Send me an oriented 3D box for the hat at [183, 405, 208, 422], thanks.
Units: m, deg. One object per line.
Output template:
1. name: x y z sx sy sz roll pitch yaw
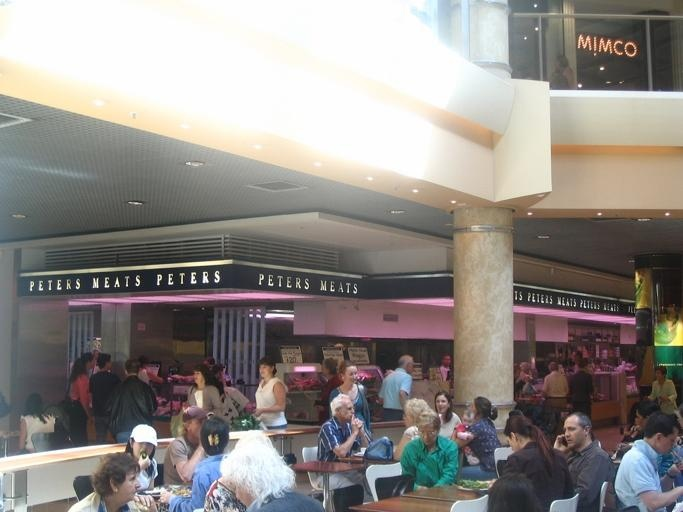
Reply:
1. hat: -1.302 1.378 4.887 0.164 0.085 0.114 -5 -3 -6

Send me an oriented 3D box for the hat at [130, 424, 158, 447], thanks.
1. hat: -1.627 1.462 4.582 0.199 0.142 0.266 11 -18 -23

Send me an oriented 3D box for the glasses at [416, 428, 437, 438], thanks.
1. glasses: 0.792 1.622 5.079 0.171 0.089 0.167 -2 -10 8
